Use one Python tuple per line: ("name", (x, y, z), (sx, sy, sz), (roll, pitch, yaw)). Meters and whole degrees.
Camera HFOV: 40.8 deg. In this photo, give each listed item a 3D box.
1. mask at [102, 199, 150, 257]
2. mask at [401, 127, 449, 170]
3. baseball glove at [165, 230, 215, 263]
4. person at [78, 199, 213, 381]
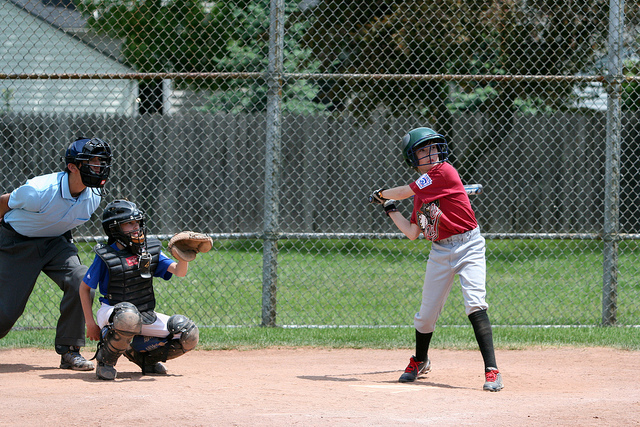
("mask", (-1.957, 0.135, 8.595), (0.493, 0.515, 0.410), (0, 9, 33))
("mask", (1.029, -0.648, 8.579), (0.357, 0.307, 0.449), (-12, 6, -26))
("baseball glove", (-1.384, 0.356, 8.563), (0.378, 0.185, 0.441), (12, 22, -22))
("person", (-1.789, 0.759, 8.544), (1.168, 1.731, 0.531), (-2, 10, -13))
